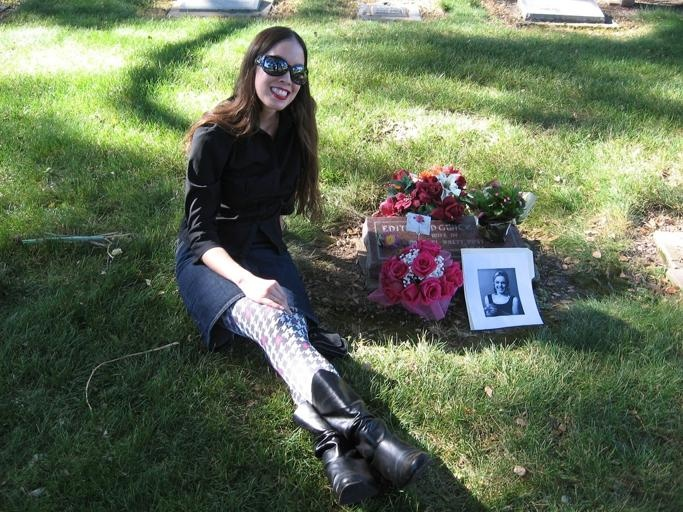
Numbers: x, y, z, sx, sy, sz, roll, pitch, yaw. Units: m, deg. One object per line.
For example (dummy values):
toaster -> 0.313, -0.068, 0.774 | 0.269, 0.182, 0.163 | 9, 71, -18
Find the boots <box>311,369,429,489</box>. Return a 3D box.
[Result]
boots -> 0.154, 1.027, 3.518 | 0.570, 0.192, 0.402 | 41, 21, 20

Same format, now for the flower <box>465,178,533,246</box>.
flower -> 1.261, -0.386, 4.817 | 0.467, 0.354, 0.481 | -7, 26, -8

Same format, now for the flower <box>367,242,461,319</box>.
flower -> 0.580, 0.210, 4.674 | 0.590, 0.524, 0.584 | -24, 66, -9
